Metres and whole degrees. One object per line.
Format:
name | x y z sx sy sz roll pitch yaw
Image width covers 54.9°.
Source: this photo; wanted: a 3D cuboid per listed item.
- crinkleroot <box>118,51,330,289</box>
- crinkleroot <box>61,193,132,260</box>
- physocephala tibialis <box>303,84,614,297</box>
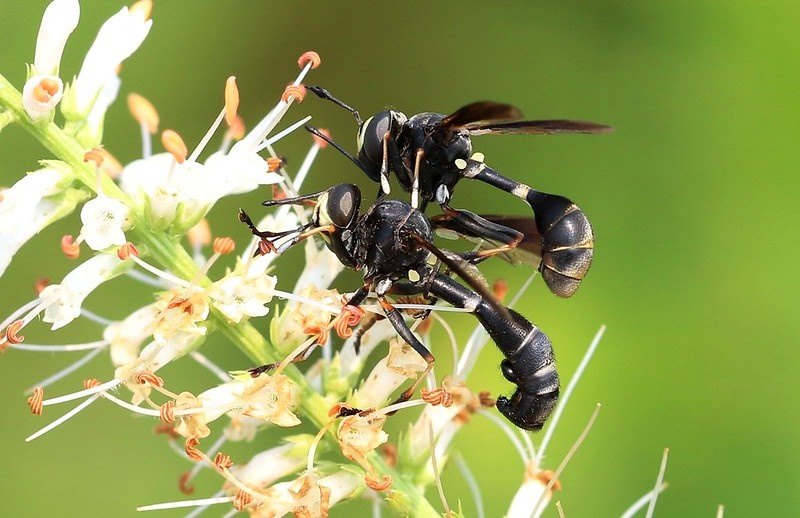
crinkleroot | -0.718 -0.359 3.228 0.417 0.818 0.827 50 -2 13
crinkleroot | -1.175 -0.122 3.003 0.249 0.249 0.067 31 6 -21
physocephala tibialis | 0.335 -0.226 3.516 0.975 1.197 0.742 -3 -15 25
